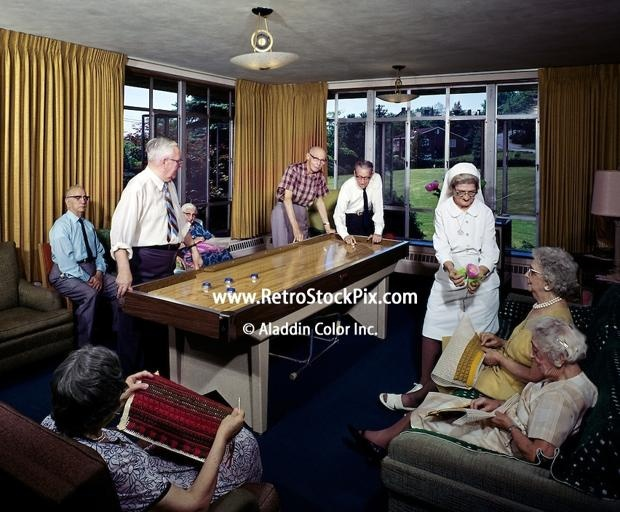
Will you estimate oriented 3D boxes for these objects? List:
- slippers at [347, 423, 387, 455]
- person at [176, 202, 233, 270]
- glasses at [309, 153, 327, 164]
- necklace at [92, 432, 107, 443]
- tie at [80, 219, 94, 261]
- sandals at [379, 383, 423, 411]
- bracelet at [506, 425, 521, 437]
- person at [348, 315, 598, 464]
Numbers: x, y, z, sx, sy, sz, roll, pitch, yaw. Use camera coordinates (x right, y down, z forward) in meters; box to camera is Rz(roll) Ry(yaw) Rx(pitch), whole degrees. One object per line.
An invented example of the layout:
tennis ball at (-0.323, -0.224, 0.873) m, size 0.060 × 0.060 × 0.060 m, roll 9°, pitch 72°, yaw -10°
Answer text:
slippers at (0.331, 1.113, 2.734) m, size 0.101 × 0.084 × 0.275 m, roll -42°, pitch 50°, yaw -16°
person at (-1.151, -0.255, 5.011) m, size 0.438 × 0.773 × 1.049 m, roll -13°, pitch 17°, yaw -28°
glasses at (0.107, -1.011, 4.689) m, size 0.220 × 0.084 × 0.127 m, roll -9°, pitch 17°, yaw -40°
necklace at (-0.639, 0.535, 1.348) m, size 0.044 × 0.011 × 0.044 m, roll 11°, pitch 6°, yaw 36°
tie at (-2.091, -0.119, 4.202) m, size 0.063 × 0.437 × 0.053 m, roll -11°, pitch 0°, yaw -13°
sandals at (0.700, 1.035, 3.241) m, size 0.377 × 0.132 × 0.144 m, roll -9°, pitch 31°, yaw -8°
bracelet at (0.811, 0.683, 1.784) m, size 0.042 × 0.016 × 0.042 m, roll -2°, pitch 4°, yaw -11°
person at (0.765, 0.556, 2.130) m, size 1.100 × 0.705 × 0.507 m, roll -2°, pitch 22°, yaw 35°
